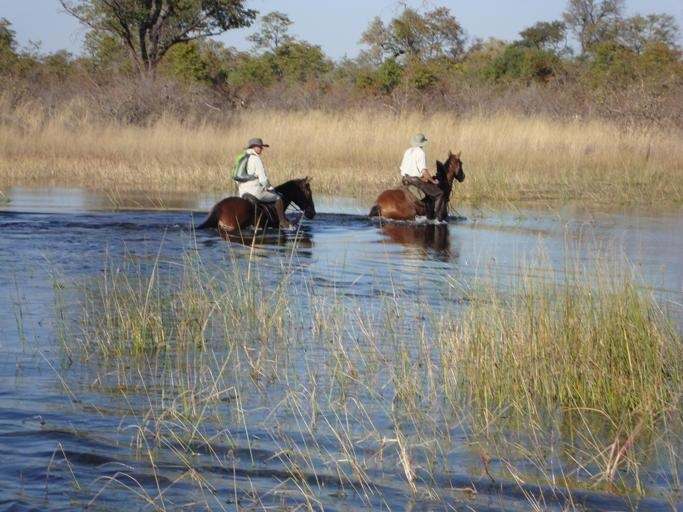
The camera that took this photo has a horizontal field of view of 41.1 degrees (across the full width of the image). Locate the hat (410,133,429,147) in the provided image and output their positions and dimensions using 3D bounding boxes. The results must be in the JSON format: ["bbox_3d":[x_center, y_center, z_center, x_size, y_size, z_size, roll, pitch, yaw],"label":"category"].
[{"bbox_3d":[1.741,-2.577,20.256,0.353,0.286,0.540,2,10,4],"label":"hat"}]

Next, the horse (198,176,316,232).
[{"bbox_3d":[-1.761,-0.718,18.696,2.686,1.755,0.685,-1,-6,-30],"label":"horse"}]

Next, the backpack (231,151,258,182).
[{"bbox_3d":[-1.932,-1.764,18.092,0.538,0.641,0.418,0,4,-10],"label":"backpack"}]

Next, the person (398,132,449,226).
[{"bbox_3d":[1.841,-1.776,20.314,0.976,1.881,0.799,1,9,1],"label":"person"}]
